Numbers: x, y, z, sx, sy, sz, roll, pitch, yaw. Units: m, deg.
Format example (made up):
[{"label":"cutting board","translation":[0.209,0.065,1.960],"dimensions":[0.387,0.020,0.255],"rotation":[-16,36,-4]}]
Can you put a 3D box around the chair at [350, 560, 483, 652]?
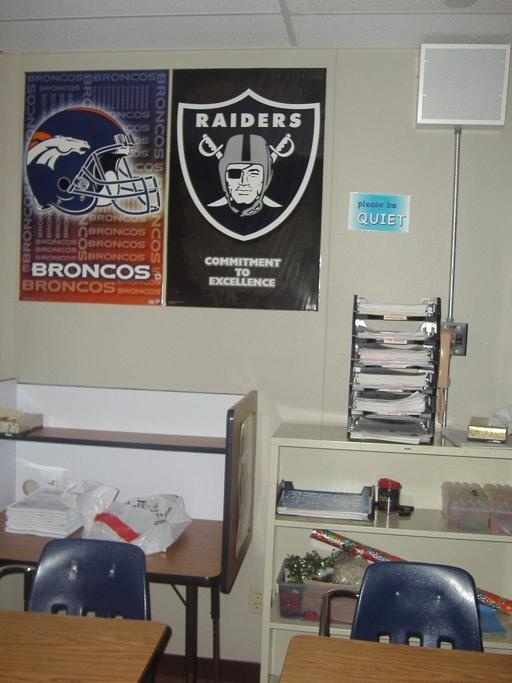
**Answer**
[{"label":"chair","translation":[0.412,0.685,1.603],"dimensions":[0.289,0.312,0.253],"rotation":[3,-12,7]}]

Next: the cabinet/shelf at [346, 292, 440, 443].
[{"label":"cabinet/shelf","translation":[0.529,0.085,2.268],"dimensions":[0.365,0.532,0.340],"rotation":[2,5,4]}]

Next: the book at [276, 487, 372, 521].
[{"label":"book","translation":[0.275,0.604,2.313],"dimensions":[0.358,0.112,0.320],"rotation":[3,1,11]}]

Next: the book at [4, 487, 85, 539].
[{"label":"book","translation":[-0.792,0.648,2.288],"dimensions":[0.189,0.076,0.215],"rotation":[1,3,-3]}]

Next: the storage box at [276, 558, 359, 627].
[{"label":"storage box","translation":[0.222,0.916,2.189],"dimensions":[0.287,0.115,0.197],"rotation":[0,-6,21]}]
